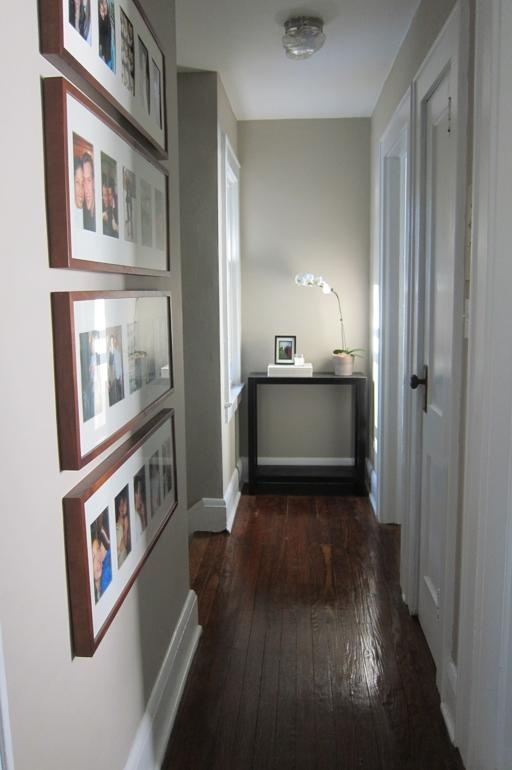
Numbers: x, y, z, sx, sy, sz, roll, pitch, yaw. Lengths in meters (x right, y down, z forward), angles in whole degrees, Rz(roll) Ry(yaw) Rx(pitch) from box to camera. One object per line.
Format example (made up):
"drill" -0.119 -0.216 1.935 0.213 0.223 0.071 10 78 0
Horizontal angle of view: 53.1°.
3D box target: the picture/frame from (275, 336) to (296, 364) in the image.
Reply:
"picture/frame" 0.231 -0.261 3.957 0.112 0.294 0.014 0 1 0

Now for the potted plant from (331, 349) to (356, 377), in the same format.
"potted plant" 0.667 -0.164 3.882 0.160 0.188 0.307 0 5 12
